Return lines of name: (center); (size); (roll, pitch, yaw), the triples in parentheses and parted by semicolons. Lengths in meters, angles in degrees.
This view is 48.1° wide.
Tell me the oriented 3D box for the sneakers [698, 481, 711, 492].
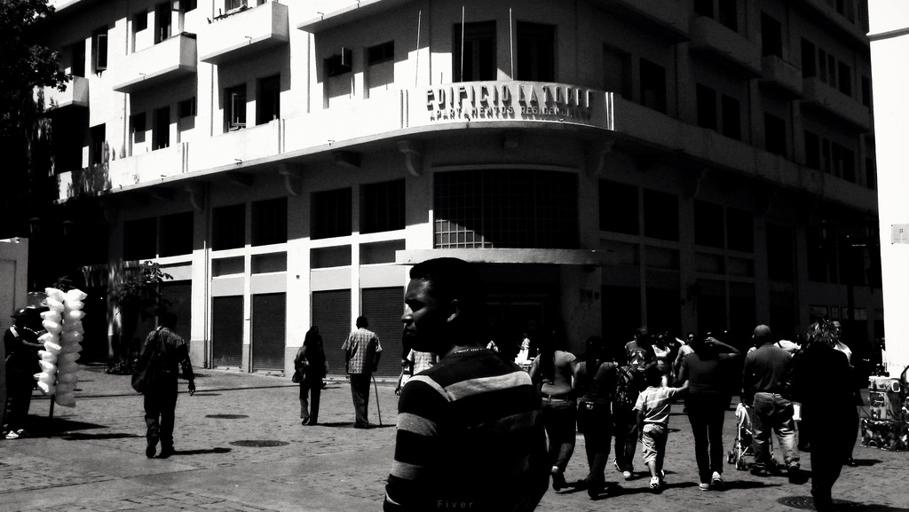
sneakers: (6.803, 6.328, 27.661); (0.134, 0.139, 0.330); (8, -4, -38)
